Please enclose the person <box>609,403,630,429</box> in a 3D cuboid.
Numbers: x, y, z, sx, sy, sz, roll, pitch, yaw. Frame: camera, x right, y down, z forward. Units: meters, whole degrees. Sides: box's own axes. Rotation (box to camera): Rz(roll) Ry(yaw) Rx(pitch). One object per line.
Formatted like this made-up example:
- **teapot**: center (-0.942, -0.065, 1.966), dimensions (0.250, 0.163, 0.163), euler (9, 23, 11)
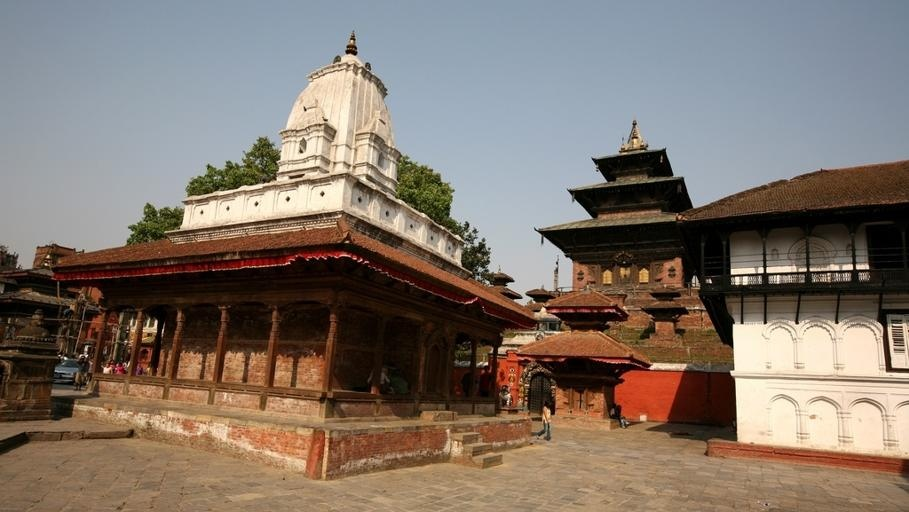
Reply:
- **person**: center (9.806, 9.510, 32.029), dimensions (0.830, 1.128, 2.293), euler (8, -27, 12)
